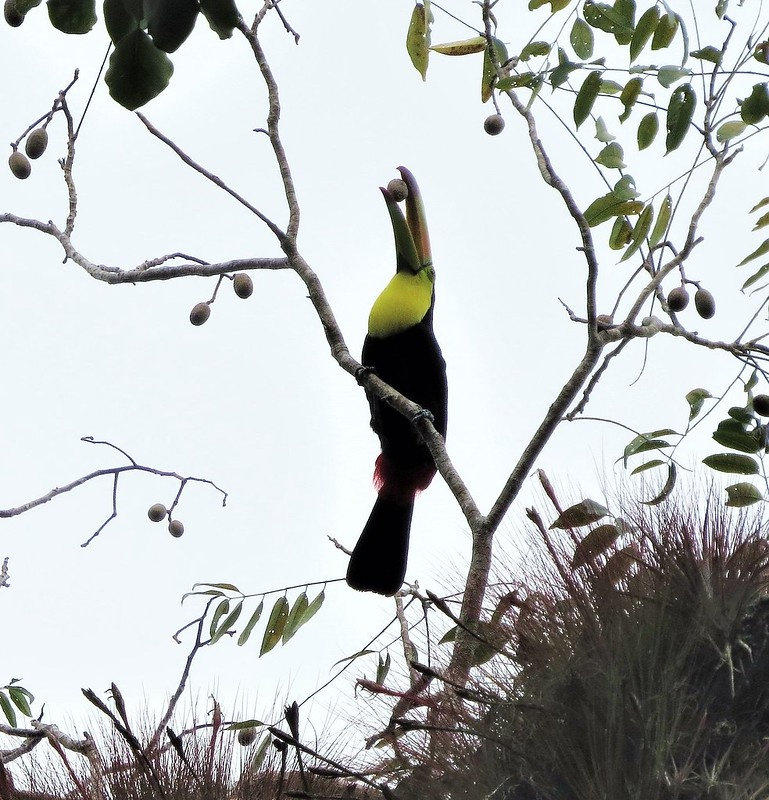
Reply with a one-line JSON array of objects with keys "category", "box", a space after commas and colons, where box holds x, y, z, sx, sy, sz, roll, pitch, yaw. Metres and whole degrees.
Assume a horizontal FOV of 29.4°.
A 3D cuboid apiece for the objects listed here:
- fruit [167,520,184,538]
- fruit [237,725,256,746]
[{"category": "fruit", "box": [-0.531, 0.333, 3.729, 0.033, 0.054, 0.040, -2, -56, 0]}, {"category": "fruit", "box": [-0.241, 0.594, 2.583, 0.031, 0.039, 0.011, 28, -35, -30]}]
